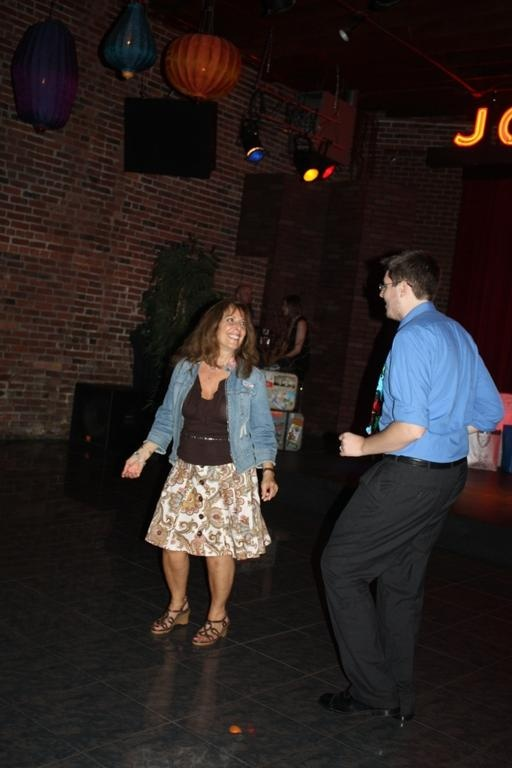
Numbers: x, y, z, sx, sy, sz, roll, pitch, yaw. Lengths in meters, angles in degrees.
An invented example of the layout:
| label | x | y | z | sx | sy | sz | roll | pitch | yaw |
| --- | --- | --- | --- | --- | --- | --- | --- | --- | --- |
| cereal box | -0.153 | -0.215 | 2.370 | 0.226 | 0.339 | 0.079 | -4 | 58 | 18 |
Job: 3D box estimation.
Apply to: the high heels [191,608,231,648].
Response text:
| label | x | y | z | sx | sy | sz | roll | pitch | yaw |
| --- | --- | --- | --- | --- | --- | --- | --- | --- | --- |
| high heels | -0.171 | 0.933 | 2.289 | 0.064 | 0.070 | 0.172 | -4 | -8 | 30 |

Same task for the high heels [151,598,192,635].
| label | x | y | z | sx | sy | sz | roll | pitch | yaw |
| --- | --- | --- | --- | --- | --- | --- | --- | --- | --- |
| high heels | -0.339 | 0.924 | 2.361 | 0.068 | 0.068 | 0.178 | 1 | 0 | 41 |

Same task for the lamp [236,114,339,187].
| label | x | y | z | sx | sy | sz | roll | pitch | yaw |
| --- | --- | --- | --- | --- | --- | --- | --- | --- | --- |
| lamp | 0.402 | -2.714 | 6.943 | 1.167 | 0.611 | 0.504 | 14 | -1 | -22 |

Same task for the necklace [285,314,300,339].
| label | x | y | z | sx | sy | sz | roll | pitch | yaw |
| --- | --- | --- | --- | --- | --- | --- | --- | --- | --- |
| necklace | 0.367 | -0.605 | 6.217 | 0.061 | 0.229 | 0.175 | 12 | 7 | 5 |

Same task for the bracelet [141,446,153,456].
| label | x | y | z | sx | sy | sz | roll | pitch | yaw |
| --- | --- | --- | --- | --- | --- | --- | --- | --- | --- |
| bracelet | -0.412 | 0.258 | 2.264 | 0.039 | 0.046 | 0.020 | 9 | 2 | -7 |

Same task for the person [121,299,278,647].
| label | x | y | z | sx | sy | sz | roll | pitch | yaw |
| --- | --- | --- | --- | --- | --- | --- | --- | --- | --- |
| person | -0.201 | 0.319 | 2.324 | 0.570 | 1.224 | 0.413 | 7 | -2 | 3 |

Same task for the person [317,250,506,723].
| label | x | y | z | sx | sy | sz | roll | pitch | yaw |
| --- | --- | --- | --- | --- | --- | --- | --- | --- | --- |
| person | 0.441 | 0.303 | 1.789 | 0.326 | 1.172 | 0.484 | 6 | -2 | 43 |
